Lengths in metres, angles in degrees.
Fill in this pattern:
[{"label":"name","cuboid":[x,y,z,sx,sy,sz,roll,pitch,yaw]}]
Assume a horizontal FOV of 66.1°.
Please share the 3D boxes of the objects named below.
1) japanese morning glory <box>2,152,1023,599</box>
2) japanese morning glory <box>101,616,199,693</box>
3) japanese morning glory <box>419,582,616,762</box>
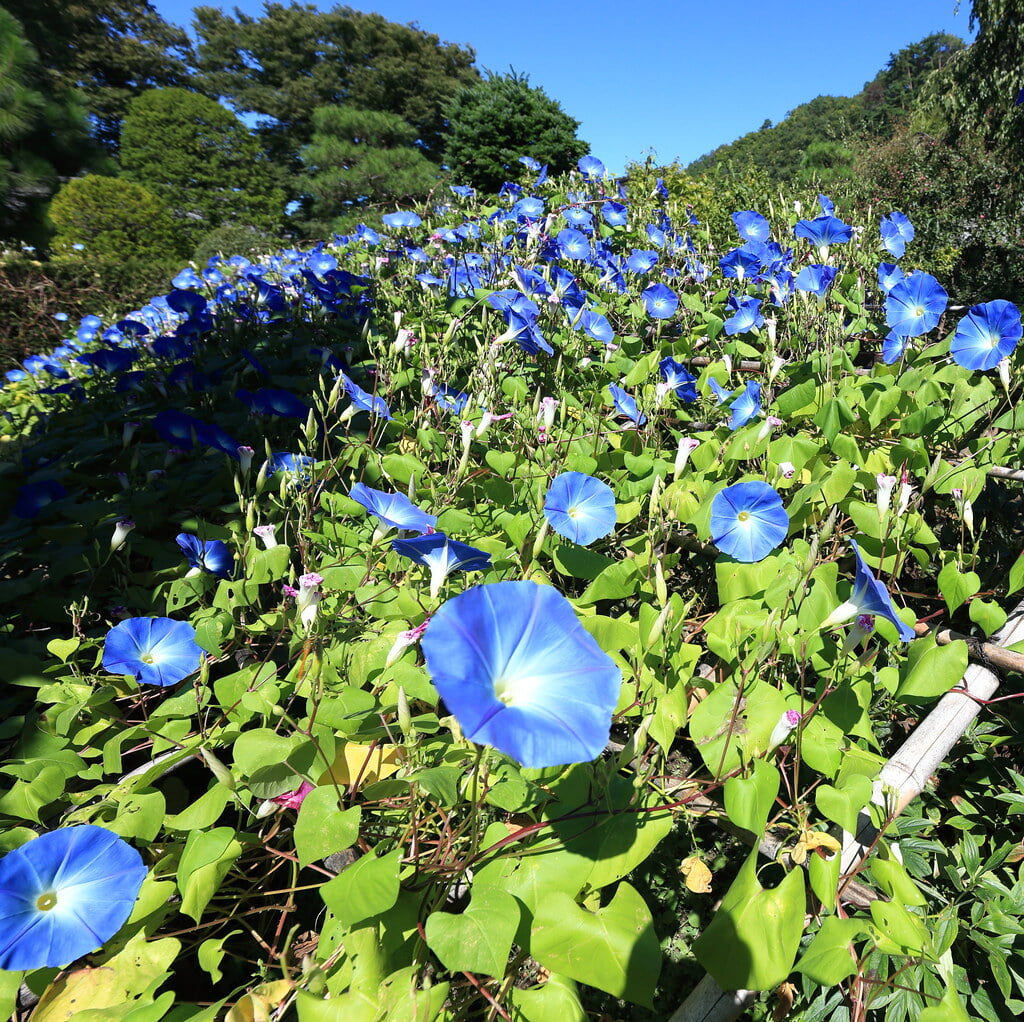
[{"label":"japanese morning glory","cuboid":[-0.114,-1.016,4.235,4.689,0.942,3.433,-24,32,-33]},{"label":"japanese morning glory","cuboid":[-1.002,0.389,2.216,0.228,0.141,0.224,18,32,14]},{"label":"japanese morning glory","cuboid":[-0.003,0.325,1.551,0.391,0.137,0.390,-5,43,-25]}]
